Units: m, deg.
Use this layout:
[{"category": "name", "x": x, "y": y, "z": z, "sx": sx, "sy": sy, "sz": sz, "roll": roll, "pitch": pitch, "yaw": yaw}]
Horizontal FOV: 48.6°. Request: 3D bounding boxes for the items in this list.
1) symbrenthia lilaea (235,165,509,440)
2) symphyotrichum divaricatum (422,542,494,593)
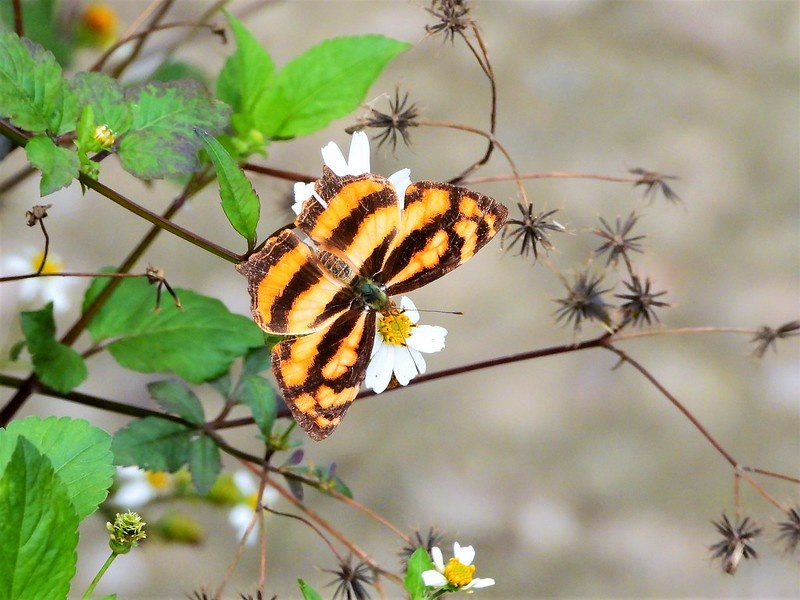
[{"category": "symbrenthia lilaea", "x": -0.063, "y": -0.017, "z": 1.006, "sx": 0.217, "sy": 0.080, "sz": 0.360, "roll": 35, "pitch": -77, "yaw": -9}, {"category": "symphyotrichum divaricatum", "x": 0.073, "y": 0.323, "z": 1.081, "sx": 0.065, "sy": 0.028, "sz": 0.066, "roll": -42, "pitch": -99, "yaw": 26}]
